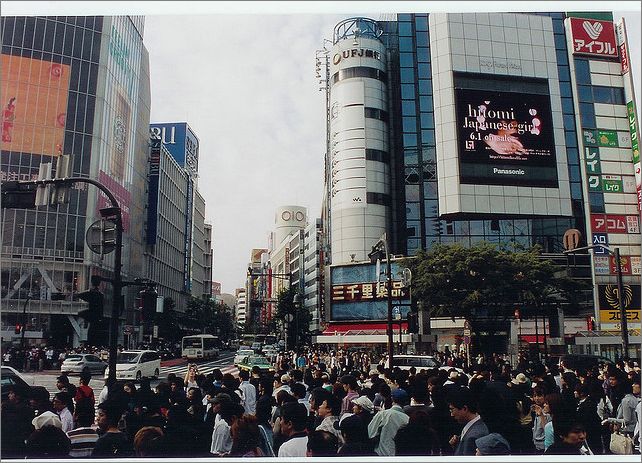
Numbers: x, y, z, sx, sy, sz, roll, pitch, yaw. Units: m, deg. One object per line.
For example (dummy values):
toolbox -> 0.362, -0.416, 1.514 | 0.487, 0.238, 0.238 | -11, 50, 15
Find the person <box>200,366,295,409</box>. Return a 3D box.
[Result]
person -> -2.878, 5.638, 23.596 | 1.534, 1.080, 2.500 | 8, -13, -41

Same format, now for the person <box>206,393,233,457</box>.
person -> -3.134, 6.059, 20.540 | 0.615, 1.716, 1.471 | 2, -14, -11

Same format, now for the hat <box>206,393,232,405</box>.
hat -> -3.318, 5.436, 21.290 | 0.745, 0.236, 0.507 | -1, -5, -7

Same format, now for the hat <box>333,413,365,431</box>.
hat -> 0.757, 5.809, 20.224 | 0.822, 0.418, 0.575 | -25, -18, 14

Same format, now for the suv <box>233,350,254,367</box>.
suv -> -6.728, 10.777, 56.754 | 1.952, 1.480, 4.081 | 2, -16, -11

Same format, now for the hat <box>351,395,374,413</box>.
hat -> 1.380, 5.442, 20.792 | 0.636, 0.322, 0.451 | 25, 3, 19

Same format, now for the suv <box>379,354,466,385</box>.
suv -> 5.442, 8.019, 36.440 | 5.125, 1.845, 2.299 | -2, -8, 8

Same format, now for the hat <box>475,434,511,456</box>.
hat -> 4.971, 6.171, 18.949 | 0.834, 0.368, 0.575 | -5, 16, -6

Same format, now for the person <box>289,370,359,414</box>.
person -> 0.295, 5.399, 21.831 | 1.582, 1.317, 1.064 | -3, -14, 11

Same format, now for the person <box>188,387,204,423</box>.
person -> -4.086, 5.669, 21.543 | 0.558, 1.016, 1.302 | 2, -14, -10

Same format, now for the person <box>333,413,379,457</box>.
person -> 1.262, 6.138, 20.380 | 1.126, 1.435, 1.248 | -2, 7, -13

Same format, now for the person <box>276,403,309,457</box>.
person -> -0.796, 5.858, 19.387 | 0.827, 1.557, 0.568 | 0, -14, -4

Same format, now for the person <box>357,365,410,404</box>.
person -> 2.245, 5.535, 23.643 | 1.057, 0.894, 2.866 | 15, 6, 15

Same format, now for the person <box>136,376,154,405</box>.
person -> -5.844, 5.340, 21.813 | 0.593, 0.841, 1.724 | 3, -14, -15
